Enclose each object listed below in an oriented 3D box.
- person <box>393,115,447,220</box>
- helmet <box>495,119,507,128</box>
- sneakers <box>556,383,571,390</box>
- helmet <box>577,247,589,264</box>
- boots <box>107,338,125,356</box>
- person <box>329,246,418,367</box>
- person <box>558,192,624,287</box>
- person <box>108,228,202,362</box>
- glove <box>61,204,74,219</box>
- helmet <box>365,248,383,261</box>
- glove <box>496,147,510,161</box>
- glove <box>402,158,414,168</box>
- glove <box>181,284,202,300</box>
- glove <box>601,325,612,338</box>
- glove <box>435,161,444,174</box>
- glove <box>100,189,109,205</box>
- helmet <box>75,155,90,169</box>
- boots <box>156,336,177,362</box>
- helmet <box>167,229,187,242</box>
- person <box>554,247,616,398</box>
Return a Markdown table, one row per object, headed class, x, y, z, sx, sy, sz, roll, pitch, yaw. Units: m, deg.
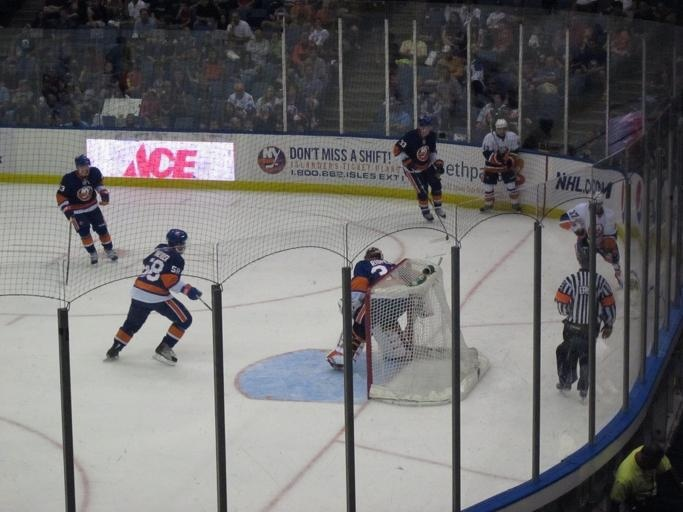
| class | x | y | z | sx | sy | sz | roll | pitch | yaw |
| --- | --- | --- | --- | --- | --- | --- | --- | --- | --- |
| person | 1.123 | -1.298 | 12.984 | 0.741 | 1.490 | 0.534 | 2 | 13 | 3 |
| helmet | 2.370 | -1.987 | 13.108 | 0.187 | 0.135 | 0.134 | -12 | 16 | -35 |
| sneakers | 1.883 | 1.126 | 7.565 | 0.139 | 0.051 | 0.047 | 11 | 16 | 39 |
| helmet | 2.107 | -0.014 | 7.765 | 0.094 | 0.161 | 0.121 | -8 | 14 | -33 |
| boots | -2.154 | 0.878 | 8.479 | 0.134 | 0.205 | 0.062 | 39 | 7 | -19 |
| person | 0.180 | 0.518 | 8.207 | 0.620 | 1.119 | 0.790 | 1 | 13 | -1 |
| person | 2.270 | -0.105 | 7.893 | 0.558 | 0.880 | 0.517 | 0 | 9 | 27 |
| person | -1.935 | 0.452 | 9.195 | 0.818 | 1.214 | 0.596 | -24 | 60 | -40 |
| glove | -3.646 | -0.613 | 11.817 | 0.215 | 0.129 | 0.090 | 53 | 17 | 25 |
| helmet | 0.294 | -0.017 | 8.314 | 0.114 | 0.139 | 0.109 | 3 | 5 | 4 |
| glove | 2.373 | -1.522 | 13.094 | 0.155 | 0.073 | 0.199 | 7 | 55 | 9 |
| glove | 0.963 | -1.387 | 13.041 | 0.109 | 0.114 | 0.134 | 4 | 18 | -5 |
| glove | -1.413 | 0.317 | 8.294 | 0.138 | 0.056 | 0.236 | -38 | 39 | -24 |
| glove | 2.309 | 0.660 | 7.758 | 0.113 | 0.029 | 0.082 | -36 | 52 | -16 |
| glove | 1.425 | -1.331 | 13.011 | 0.103 | 0.204 | 0.197 | 4 | 13 | 13 |
| glove | -3.178 | -0.796 | 11.899 | 0.167 | 0.195 | 0.186 | 5 | 11 | -15 |
| helmet | -3.432 | -1.267 | 11.733 | 0.163 | 0.160 | 0.158 | -4 | 14 | -20 |
| boots | -1.679 | 0.900 | 8.479 | 0.203 | 0.254 | 0.116 | 1 | 13 | 0 |
| helmet | -1.658 | -0.214 | 8.910 | 0.202 | 0.148 | 0.135 | -7 | 16 | -1 |
| person | 2.065 | 0.524 | 7.639 | 0.504 | 1.228 | 0.864 | 6 | 14 | 19 |
